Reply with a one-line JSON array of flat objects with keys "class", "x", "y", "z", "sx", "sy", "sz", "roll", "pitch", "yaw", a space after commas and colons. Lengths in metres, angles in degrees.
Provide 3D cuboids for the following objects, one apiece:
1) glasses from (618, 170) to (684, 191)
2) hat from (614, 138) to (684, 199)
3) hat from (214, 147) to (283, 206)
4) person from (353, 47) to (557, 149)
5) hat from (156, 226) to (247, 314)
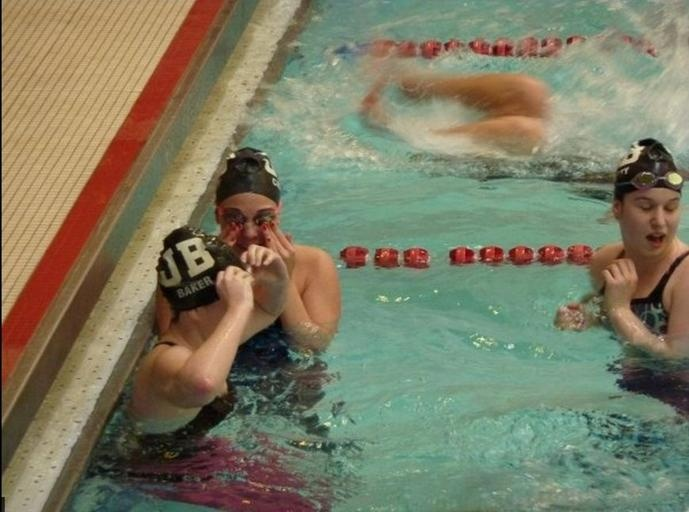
[{"class": "glasses", "x": 1.340, "y": -0.326, "z": 3.047, "sx": 0.259, "sy": 0.107, "sz": 0.117, "roll": 8, "pitch": 27, "yaw": 13}, {"class": "hat", "x": 1.364, "y": -0.398, "z": 3.156, "sx": 0.286, "sy": 0.171, "sz": 0.319, "roll": 3, "pitch": -3, "yaw": 8}, {"class": "hat", "x": -0.418, "y": -0.391, "z": 3.286, "sx": 0.319, "sy": 0.215, "sz": 0.280, "roll": 0, "pitch": 37, "yaw": 0}, {"class": "person", "x": 0.832, "y": -1.135, "z": 5.254, "sx": 1.425, "sy": 0.405, "sz": 1.223, "roll": 6, "pitch": 24, "yaw": 10}, {"class": "hat", "x": -0.511, "y": 0.050, "z": 2.691, "sx": 0.305, "sy": 0.328, "sz": 0.282, "roll": -26, "pitch": 1, "yaw": 1}]
